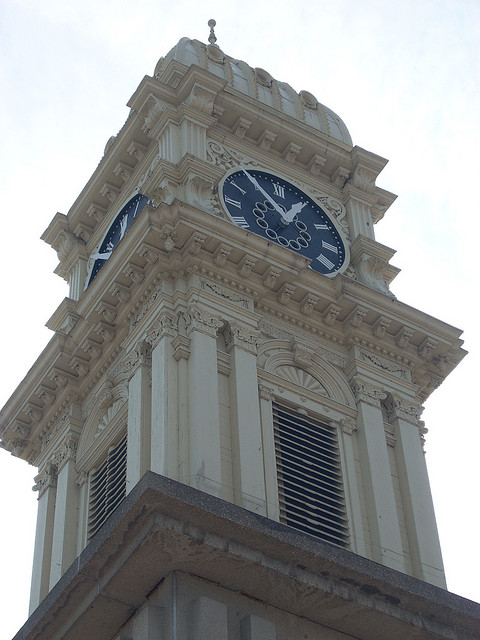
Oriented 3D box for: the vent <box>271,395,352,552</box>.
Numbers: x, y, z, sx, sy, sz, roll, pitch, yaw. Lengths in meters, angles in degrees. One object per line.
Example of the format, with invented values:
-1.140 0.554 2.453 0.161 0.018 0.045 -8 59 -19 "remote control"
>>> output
1.598 3.577 34.605 2.196 4.622 0.533 32 -56 -24 "vent"
